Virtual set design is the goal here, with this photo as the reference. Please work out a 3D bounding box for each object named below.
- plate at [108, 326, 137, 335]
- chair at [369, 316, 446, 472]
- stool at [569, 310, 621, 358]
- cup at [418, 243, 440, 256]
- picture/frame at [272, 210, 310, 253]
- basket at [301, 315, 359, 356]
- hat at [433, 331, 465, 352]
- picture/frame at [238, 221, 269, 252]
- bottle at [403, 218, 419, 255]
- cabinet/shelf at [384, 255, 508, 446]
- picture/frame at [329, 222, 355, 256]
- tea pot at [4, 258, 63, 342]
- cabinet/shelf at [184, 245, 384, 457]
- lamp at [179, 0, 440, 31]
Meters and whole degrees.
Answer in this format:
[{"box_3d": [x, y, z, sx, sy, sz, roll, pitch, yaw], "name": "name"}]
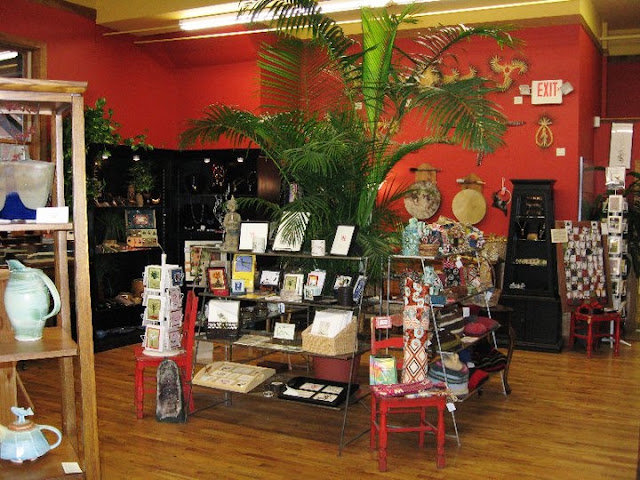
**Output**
[{"box_3d": [-2.678, 1.232, 6.795, 0.113, 0.101, 0.427, 3, 5, 28], "name": "plate"}, {"box_3d": [0.665, 1.100, 3.927, 0.655, 1.065, 1.013, 1, 5, 13], "name": "chair"}, {"box_3d": [3.604, 1.198, 6.617, 0.651, 0.457, 0.781, -3, -5, 41], "name": "stool"}, {"box_3d": [0.976, 0.083, 4.447, 0.133, 0.064, 0.118, 0, -4, -5], "name": "cup"}, {"box_3d": [-0.256, -0.080, 4.499, 0.408, 0.429, 0.055, 14, 15, 0], "name": "picture/frame"}, {"box_3d": [0.093, 0.773, 4.177, 0.329, 0.276, 0.390, 5, -4, -45], "name": "basket"}, {"box_3d": [1.042, 0.802, 4.081, 0.200, 0.065, 0.257, 6, 8, 35], "name": "hat"}, {"box_3d": [-0.638, -0.042, 4.792, 0.377, 0.292, 0.037, 2, 1, 32], "name": "picture/frame"}, {"box_3d": [0.830, -0.034, 4.562, 0.157, 0.338, 0.218, 1, 5, 10], "name": "bottle"}, {"box_3d": [1.068, 0.992, 4.300, 0.757, 1.290, 1.684, -2, -2, 26], "name": "cabinet/shelf"}, {"box_3d": [0.191, -0.005, 4.320, 0.278, 0.233, 0.063, 1, -18, 36], "name": "picture/frame"}, {"box_3d": [-1.256, 0.261, 2.151, 0.179, 0.346, 0.115, -1, 5, -17], "name": "tea pot"}, {"box_3d": [-0.287, 0.997, 4.408, 1.903, 1.403, 0.764, 1, 0, 31], "name": "cabinet/shelf"}, {"box_3d": [-0.120, -2.725, 6.007, 1.782, 0.067, 0.239, 1, 1, 24], "name": "lamp"}]
